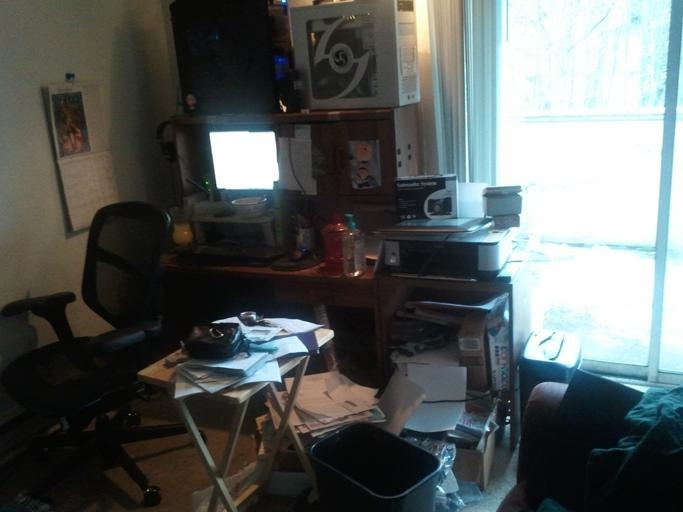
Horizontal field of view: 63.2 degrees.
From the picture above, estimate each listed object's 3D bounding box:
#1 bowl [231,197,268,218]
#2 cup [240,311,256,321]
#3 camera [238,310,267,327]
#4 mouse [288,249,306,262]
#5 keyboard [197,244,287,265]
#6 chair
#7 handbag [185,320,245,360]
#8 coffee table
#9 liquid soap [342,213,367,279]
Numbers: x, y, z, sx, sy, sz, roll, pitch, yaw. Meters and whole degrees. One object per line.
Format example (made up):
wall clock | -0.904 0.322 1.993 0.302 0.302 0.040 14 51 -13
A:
bowl | -0.591 -0.305 3.463 0.152 0.066 0.147 -1 11 0
cup | -0.403 0.272 2.441 0.051 0.024 0.049 4 12 -1
camera | -0.394 0.277 2.449 0.092 0.036 0.070 6 4 -7
mouse | -0.253 -0.001 3.208 0.068 0.046 0.064 -1 4 -1
keyboard | -0.613 -0.004 3.284 0.351 0.049 0.206 3 16 9
chair | -1.255 0.462 2.815 0.792 1.342 0.797 -2 17 10
handbag | -0.498 0.324 2.219 0.143 0.065 0.178 0 8 -3
coffee table | -0.476 0.761 2.540 0.654 0.986 0.674 8 21 21
liquid soap | 0.067 -0.014 3.019 0.129 0.217 0.178 -4 17 2
